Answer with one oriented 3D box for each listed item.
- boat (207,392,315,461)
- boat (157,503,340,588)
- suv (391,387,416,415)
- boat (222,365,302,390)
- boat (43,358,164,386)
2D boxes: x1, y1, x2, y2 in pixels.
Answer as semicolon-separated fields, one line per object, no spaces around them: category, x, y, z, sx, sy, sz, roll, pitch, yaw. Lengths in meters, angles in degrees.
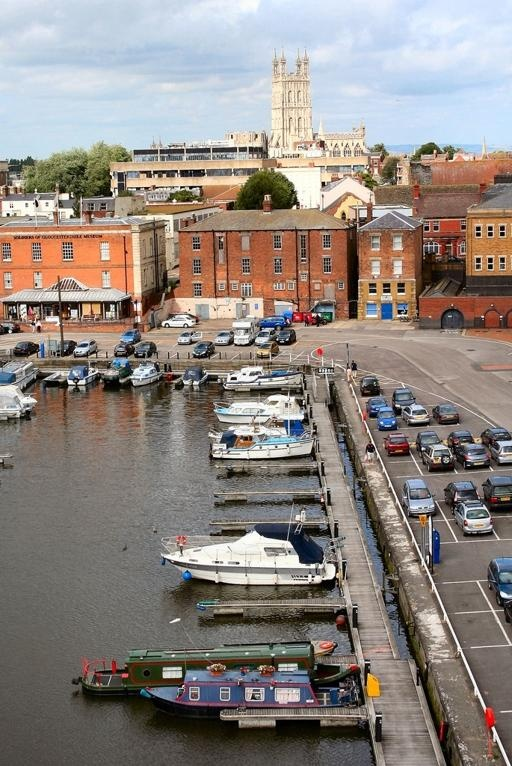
boat;0.216;2.370;64.471;5.732;1.881;10.511;-3;12;-1
boat;-0.016;6.376;42.553;6.839;2.124;3.699;0;12;14
suv;8.665;1.006;65.175;1.004;0.994;1.875;-2;4;3
boat;0.520;-0.319;78.753;5.540;1.727;2.169;-1;21;5
boat;-11.716;-0.747;84.395;8.253;1.826;4.007;0;12;14
